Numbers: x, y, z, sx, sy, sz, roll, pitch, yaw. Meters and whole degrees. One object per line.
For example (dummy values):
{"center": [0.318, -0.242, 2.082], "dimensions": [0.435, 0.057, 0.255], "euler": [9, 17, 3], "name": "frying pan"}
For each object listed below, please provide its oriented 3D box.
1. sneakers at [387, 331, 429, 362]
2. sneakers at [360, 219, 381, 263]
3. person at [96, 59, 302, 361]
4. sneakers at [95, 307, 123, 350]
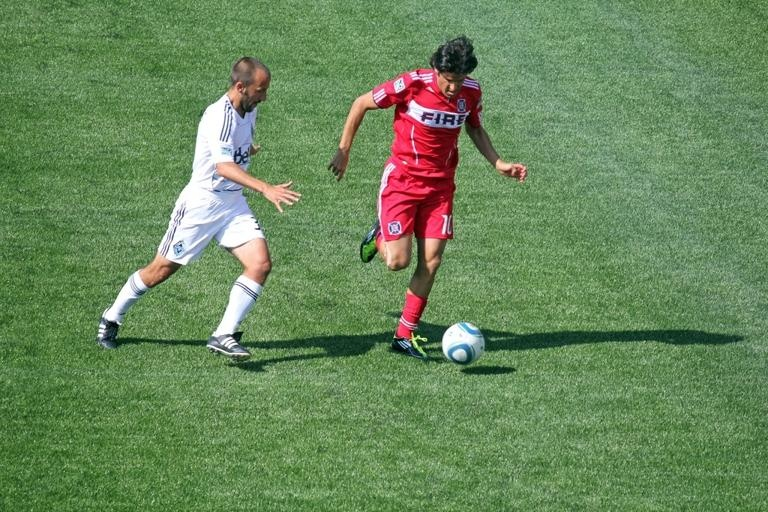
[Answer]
{"center": [0.327, 0.961, 12.221], "dimensions": [0.514, 0.234, 0.187], "euler": [9, 17, 33], "name": "sneakers"}
{"center": [-0.102, -0.133, 12.869], "dimensions": [0.235, 0.510, 0.172], "euler": [-11, 40, -28], "name": "sneakers"}
{"center": [-1.794, -0.389, 11.654], "dimensions": [1.596, 3.324, 0.882], "euler": [16, 19, 0], "name": "person"}
{"center": [-2.902, 0.794, 12.036], "dimensions": [0.164, 0.466, 0.201], "euler": [8, -17, -42], "name": "sneakers"}
